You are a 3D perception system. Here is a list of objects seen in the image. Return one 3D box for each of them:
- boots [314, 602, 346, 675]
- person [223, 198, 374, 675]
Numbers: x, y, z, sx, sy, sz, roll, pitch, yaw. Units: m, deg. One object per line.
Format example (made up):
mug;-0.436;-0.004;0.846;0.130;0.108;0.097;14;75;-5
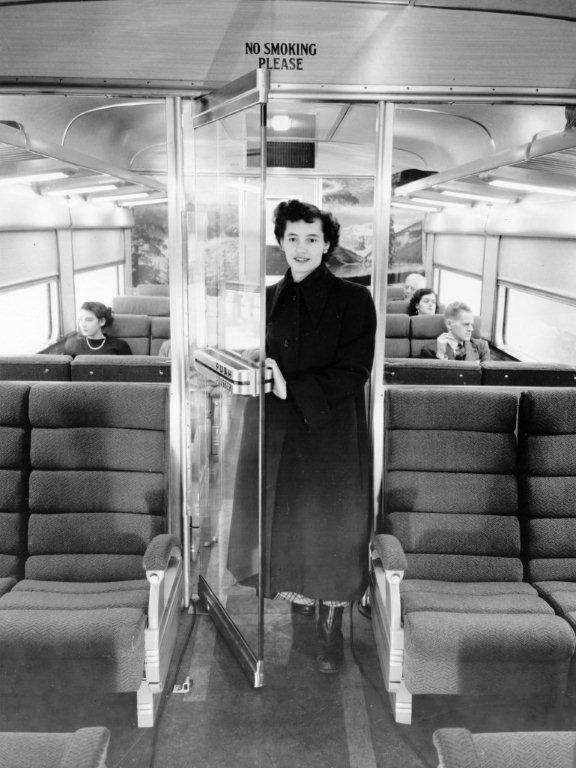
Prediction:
boots;0.151;0.970;2.540;0.095;0.255;0.258;3;3;1
person;0.111;0.092;2.361;0.403;1.433;0.184;-1;10;-3
